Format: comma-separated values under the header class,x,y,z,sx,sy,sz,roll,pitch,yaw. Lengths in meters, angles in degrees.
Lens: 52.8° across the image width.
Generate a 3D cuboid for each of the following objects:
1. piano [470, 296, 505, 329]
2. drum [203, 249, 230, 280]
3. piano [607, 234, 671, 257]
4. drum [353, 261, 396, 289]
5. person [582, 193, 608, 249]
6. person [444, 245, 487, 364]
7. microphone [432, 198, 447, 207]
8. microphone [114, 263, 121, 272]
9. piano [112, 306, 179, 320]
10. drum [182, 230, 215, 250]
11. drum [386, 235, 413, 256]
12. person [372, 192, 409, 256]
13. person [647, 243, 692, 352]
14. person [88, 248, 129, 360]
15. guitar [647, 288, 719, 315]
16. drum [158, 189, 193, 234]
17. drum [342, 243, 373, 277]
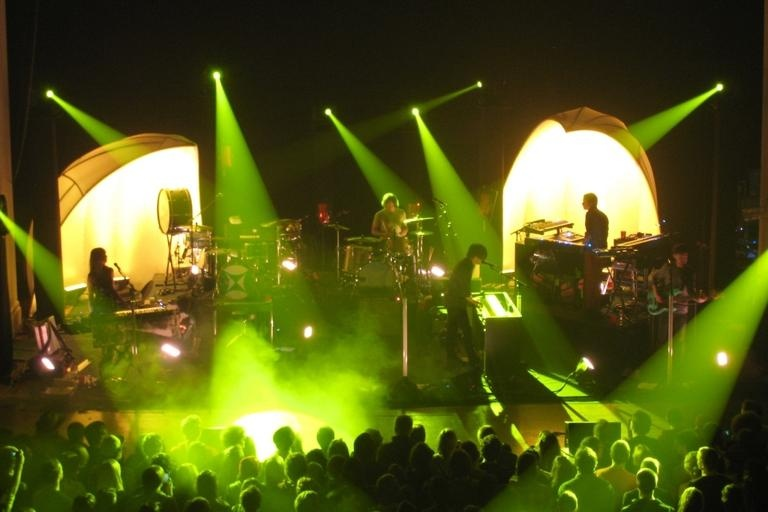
class,x,y,z,sx,sy,sz,roll,pitch,yaw
piano,1.924,0.974,14.025,0.421,0.242,1.047,-1,16,-3
drum,-3.359,0.196,15.559,0.512,0.640,0.562,3,7,0
piano,4.871,-0.182,14.631,0.809,0.287,0.588,-3,6,-11
drum,-0.174,0.436,15.518,0.542,0.590,0.605,6,-23,23
person,4.091,-0.676,14.888,0.454,0.923,1.325,2,12,13
person,1.504,0.890,14.234,0.696,2.246,0.973,2,11,17
microphone,1.325,-1.259,18.391,0.296,0.089,0.328,15,2,5
microphone,-5.596,0.268,16.183,0.165,0.059,0.667,11,6,-18
piano,-4.298,1.029,14.034,1.088,0.227,0.366,-6,13,-23
drum,-4.061,-0.338,16.891,0.588,0.444,0.706,-4,12,-15
drum,0.316,-0.175,16.195,0.465,0.458,0.347,1,-15,6
person,0.186,-0.532,16.891,0.658,1.451,0.708,-4,-9,41
person,5.176,0.872,13.719,0.757,2.128,0.683,-3,24,9
person,-5.054,0.919,14.047,0.483,2.056,0.618,-8,13,-34
guitar,5.130,0.830,13.579,0.793,0.460,0.610,-2,-1,43
drum,-4.595,-0.964,17.073,0.532,0.928,0.840,1,-10,-39
drum,-0.574,0.094,17.003,0.604,0.680,0.666,6,4,-10
